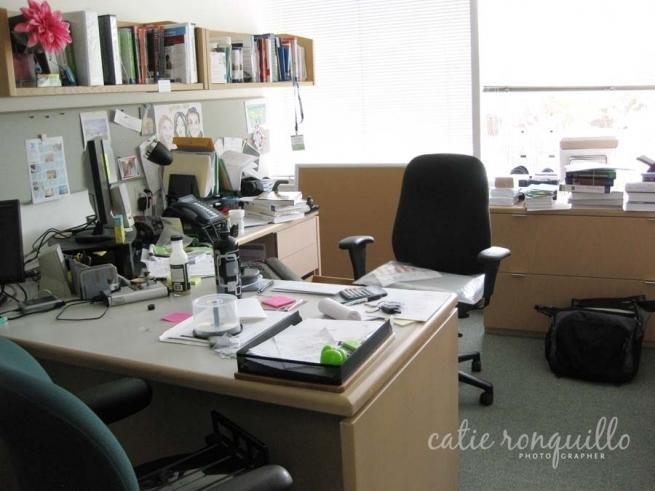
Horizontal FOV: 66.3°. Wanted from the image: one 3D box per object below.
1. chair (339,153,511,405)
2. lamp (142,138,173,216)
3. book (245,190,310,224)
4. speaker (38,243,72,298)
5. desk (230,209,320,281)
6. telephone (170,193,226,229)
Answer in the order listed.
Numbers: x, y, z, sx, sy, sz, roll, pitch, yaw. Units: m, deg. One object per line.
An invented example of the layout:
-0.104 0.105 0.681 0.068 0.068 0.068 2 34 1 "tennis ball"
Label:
0.519 0.166 2.638 0.899 1.222 0.716 3 12 23 "chair"
-0.984 -0.389 2.945 0.174 0.469 0.564 -10 16 -17 "lamp"
-0.356 -0.271 3.125 0.257 0.087 0.244 8 17 35 "book"
-1.162 0.116 2.100 0.142 0.219 0.126 22 28 40 "speaker"
-0.251 -0.009 3.137 0.412 0.591 0.636 2 7 26 "desk"
-0.675 -0.186 2.598 0.260 0.091 0.166 17 30 23 "telephone"
